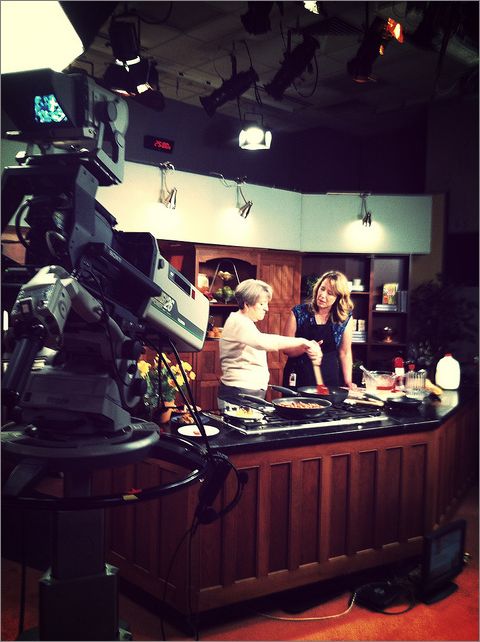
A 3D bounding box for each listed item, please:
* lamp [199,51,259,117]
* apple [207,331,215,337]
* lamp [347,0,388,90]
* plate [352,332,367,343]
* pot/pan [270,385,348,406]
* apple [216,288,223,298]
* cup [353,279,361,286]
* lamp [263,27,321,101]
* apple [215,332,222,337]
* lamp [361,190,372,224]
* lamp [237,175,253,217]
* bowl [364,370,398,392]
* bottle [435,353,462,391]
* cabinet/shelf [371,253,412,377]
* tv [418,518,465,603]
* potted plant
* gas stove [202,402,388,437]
[{"bbox_3d":[-0.074,-2.079,4.674,0.287,0.356,0.748,-1,5,-30],"label":"lamp"},{"bbox_3d":[-0.275,0.128,4.969,0.054,0.056,0.067,-8,-19,24],"label":"apple"},{"bbox_3d":[0.926,-2.051,3.724,0.278,0.531,0.547,2,4,11],"label":"lamp"},{"bbox_3d":[1.253,0.157,5.481,0.178,0.177,0.102,0,1,-8],"label":"plate"},{"bbox_3d":[0.399,0.391,2.793,0.318,0.049,0.185,1,-4,16],"label":"pot/pan"},{"bbox_3d":[-0.200,-0.278,5.134,0.031,0.086,0.063,19,-47,-27],"label":"apple"},{"bbox_3d":[1.248,-0.409,5.495,0.072,0.070,0.066,1,-3,0],"label":"cup"},{"bbox_3d":[0.425,-2.057,4.157,0.239,0.413,0.539,-1,4,-27],"label":"lamp"},{"bbox_3d":[-0.203,0.120,4.701,0.065,0.044,0.080,-10,0,11],"label":"apple"},{"bbox_3d":[1.315,-1.173,5.394,0.127,0.360,0.141,2,4,16],"label":"lamp"},{"bbox_3d":[0.042,-1.228,5.129,0.167,0.403,0.225,1,4,1],"label":"lamp"},{"bbox_3d":[0.899,0.386,3.330,0.153,0.097,0.133,-5,-6,26],"label":"bowl"},{"bbox_3d":[1.607,0.390,3.976,0.169,0.250,0.238,3,4,22],"label":"bottle"},{"bbox_3d":[1.576,-0.097,5.494,0.428,1.202,0.353,2,4,11],"label":"cabinet/shelf"},{"bbox_3d":[0.970,1.161,2.479,0.361,0.363,0.126,-4,0,-44],"label":"tv"},{"bbox_3d":[2.106,0.011,5.317,0.674,0.953,0.403,2,4,16],"label":"potted plant"},{"bbox_3d":[0.325,0.466,2.555,0.939,0.054,0.391,0,4,-24],"label":"gas stove"}]
